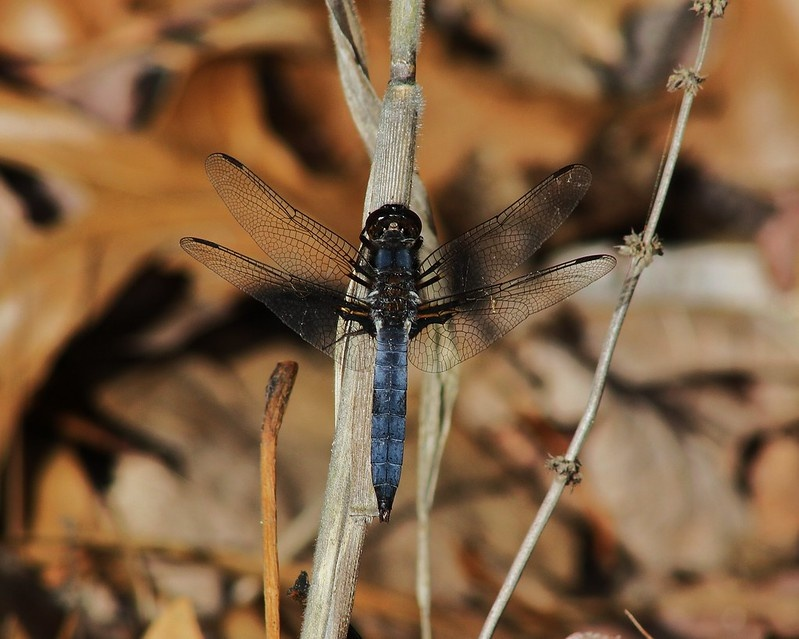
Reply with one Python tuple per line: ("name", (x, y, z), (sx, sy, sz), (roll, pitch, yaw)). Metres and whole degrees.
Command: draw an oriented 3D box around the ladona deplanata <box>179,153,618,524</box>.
("ladona deplanata", (-0.002, -0.026, 1.251), (0.477, 0.374, 0.190), (4, -14, -2))
